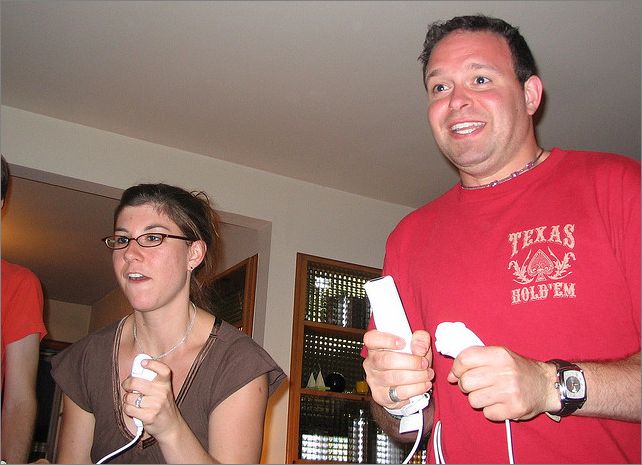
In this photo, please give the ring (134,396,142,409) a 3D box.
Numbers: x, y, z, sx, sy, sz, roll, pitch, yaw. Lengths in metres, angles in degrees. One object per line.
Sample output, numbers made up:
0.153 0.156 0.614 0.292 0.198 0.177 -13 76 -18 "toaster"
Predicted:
-0.438 0.404 1.170 0.020 0.028 0.011 -10 -21 22 "ring"
